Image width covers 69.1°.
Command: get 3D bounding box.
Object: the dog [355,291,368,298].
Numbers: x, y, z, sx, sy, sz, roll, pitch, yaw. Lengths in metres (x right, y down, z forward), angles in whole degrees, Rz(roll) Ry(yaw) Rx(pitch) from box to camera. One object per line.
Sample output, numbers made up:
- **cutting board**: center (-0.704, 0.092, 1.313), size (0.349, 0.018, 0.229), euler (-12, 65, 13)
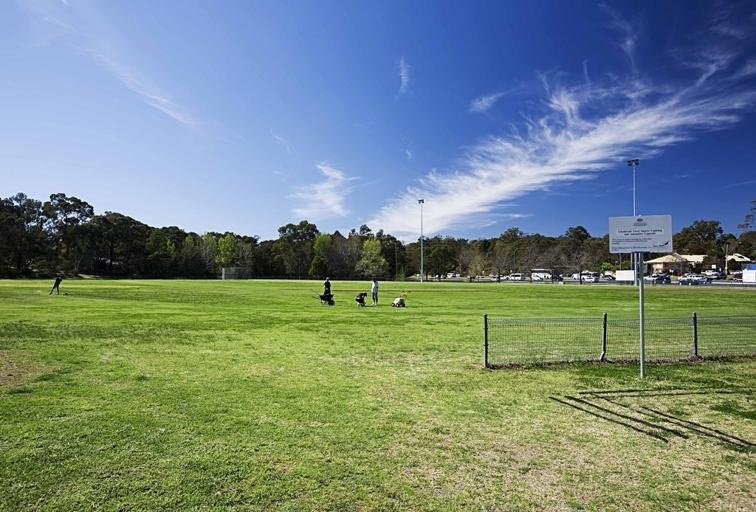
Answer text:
- **dog**: center (-0.989, 2.536, 35.176), size (0.426, 0.577, 1.411), euler (-3, -1, -14)
